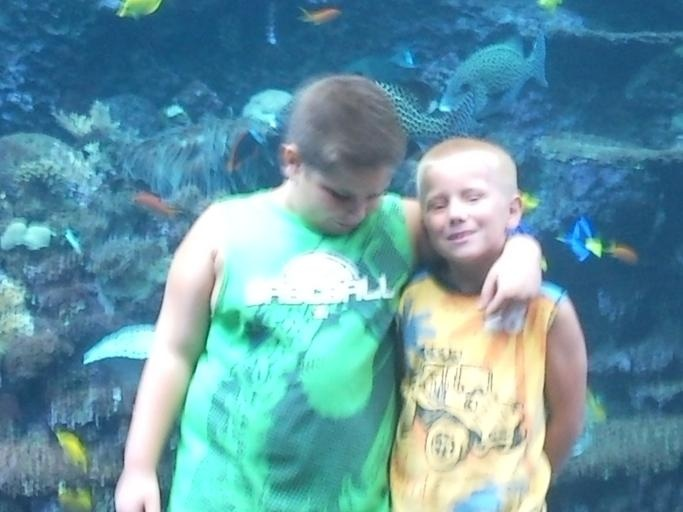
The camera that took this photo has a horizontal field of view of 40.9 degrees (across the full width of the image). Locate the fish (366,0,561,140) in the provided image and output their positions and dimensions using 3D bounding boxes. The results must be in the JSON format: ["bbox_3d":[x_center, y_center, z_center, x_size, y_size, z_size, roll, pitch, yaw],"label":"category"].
[{"bbox_3d":[0.268,-0.434,2.130,0.449,0.187,0.124,-31,16,-8],"label":"fish"}]

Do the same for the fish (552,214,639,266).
[{"bbox_3d":[0.615,-0.030,2.202,0.163,0.100,0.047,18,1,-7],"label":"fish"}]

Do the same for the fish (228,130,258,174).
[{"bbox_3d":[-0.225,-0.234,2.121,0.022,0.096,0.056,17,14,-48],"label":"fish"}]

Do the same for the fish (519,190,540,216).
[{"bbox_3d":[0.443,-0.125,2.153,0.047,0.067,0.024,-11,10,-14],"label":"fish"}]

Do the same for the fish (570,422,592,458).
[{"bbox_3d":[0.584,0.445,2.210,0.032,0.091,0.062,31,-34,-32],"label":"fish"}]

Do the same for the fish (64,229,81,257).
[{"bbox_3d":[-0.626,-0.032,2.130,0.016,0.059,0.015,-17,10,34],"label":"fish"}]
